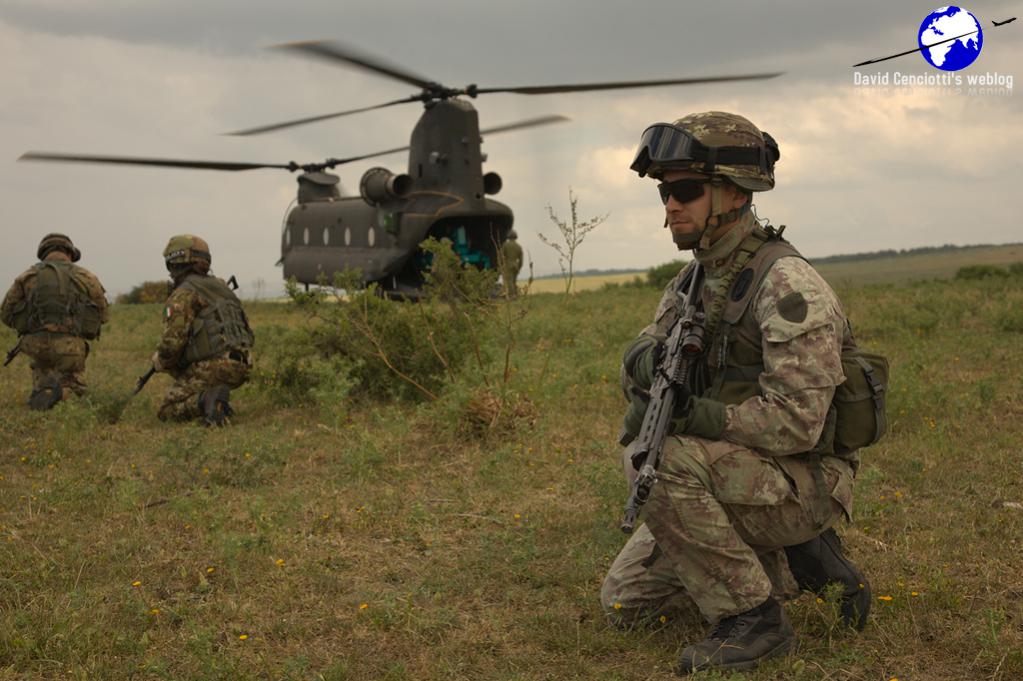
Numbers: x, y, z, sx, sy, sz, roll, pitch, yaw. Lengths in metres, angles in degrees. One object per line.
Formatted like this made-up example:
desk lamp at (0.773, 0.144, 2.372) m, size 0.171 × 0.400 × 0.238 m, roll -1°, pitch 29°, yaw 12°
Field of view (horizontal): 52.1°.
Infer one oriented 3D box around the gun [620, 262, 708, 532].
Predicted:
gun at (1.148, 0.416, 8.395) m, size 0.679 × 2.020 × 0.693 m, roll 1°, pitch 0°, yaw -37°

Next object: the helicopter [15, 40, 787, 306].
helicopter at (-2.502, -3.039, 23.121) m, size 9.205 × 4.821 × 14.308 m, roll -7°, pitch 5°, yaw -32°

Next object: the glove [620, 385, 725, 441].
glove at (1.374, 0.438, 8.483) m, size 0.260 × 0.181 × 0.658 m, roll 1°, pitch 2°, yaw -26°
